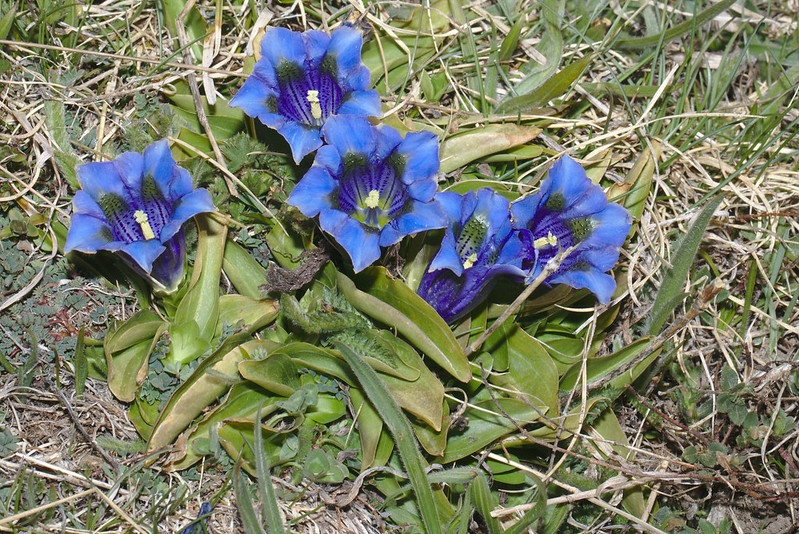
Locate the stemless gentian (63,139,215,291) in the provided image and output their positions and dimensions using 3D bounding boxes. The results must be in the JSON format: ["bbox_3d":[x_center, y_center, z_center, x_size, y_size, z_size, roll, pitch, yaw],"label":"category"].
[{"bbox_3d":[-0.943,-0.167,2.790,0.491,0.279,0.439,-39,73,-19],"label":"stemless gentian"}]

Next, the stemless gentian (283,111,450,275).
[{"bbox_3d":[-0.095,-0.217,2.762,0.542,0.291,0.533,15,65,3],"label":"stemless gentian"}]

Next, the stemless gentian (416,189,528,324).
[{"bbox_3d":[0.278,-0.073,2.850,0.386,0.635,0.467,2,106,13],"label":"stemless gentian"}]

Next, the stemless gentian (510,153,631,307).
[{"bbox_3d":[0.605,-0.135,2.823,0.433,0.219,0.477,18,66,4],"label":"stemless gentian"}]
